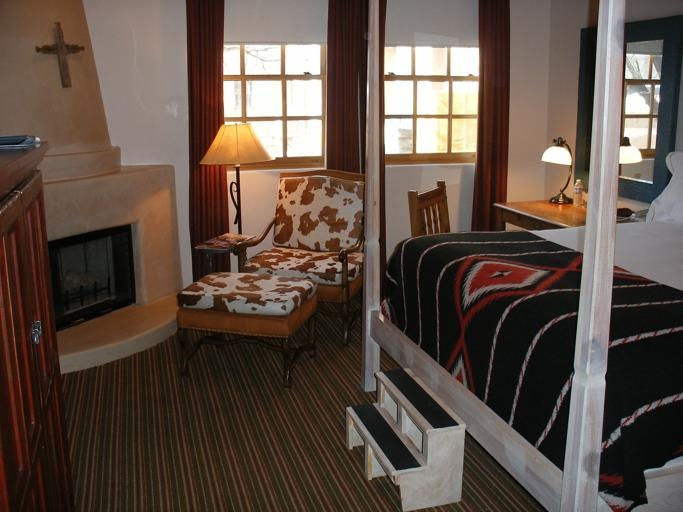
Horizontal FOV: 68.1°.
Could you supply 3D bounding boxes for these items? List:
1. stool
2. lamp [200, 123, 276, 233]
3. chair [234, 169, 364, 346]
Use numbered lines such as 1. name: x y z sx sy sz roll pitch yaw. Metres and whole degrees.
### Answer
1. stool: -0.697 0.513 3.846 0.931 0.644 0.743 5 13 21
2. lamp: -0.925 -0.498 4.592 0.584 1.315 0.582 -2 9 -37
3. chair: -0.303 -0.051 4.327 0.905 1.319 0.850 2 10 15
